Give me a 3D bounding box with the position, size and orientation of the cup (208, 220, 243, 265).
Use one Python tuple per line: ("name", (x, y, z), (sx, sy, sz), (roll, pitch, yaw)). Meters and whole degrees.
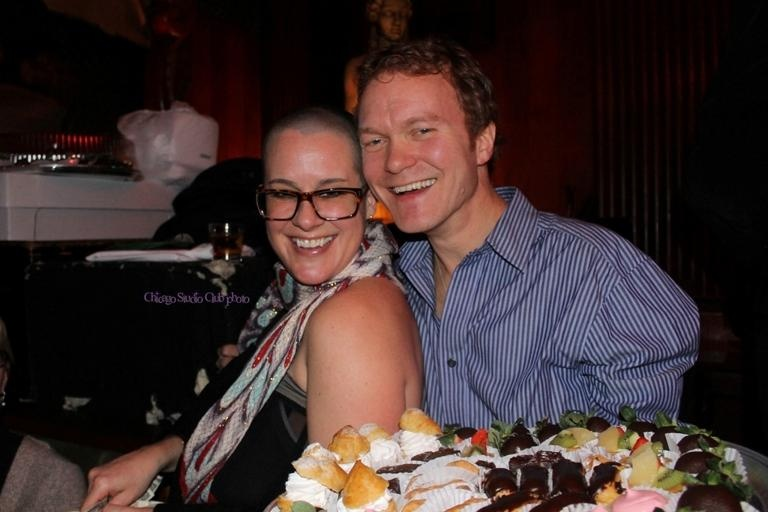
("cup", (-0.925, -0.089, 3.943), (0.209, 0.238, 0.214), (0, 0, 0))
